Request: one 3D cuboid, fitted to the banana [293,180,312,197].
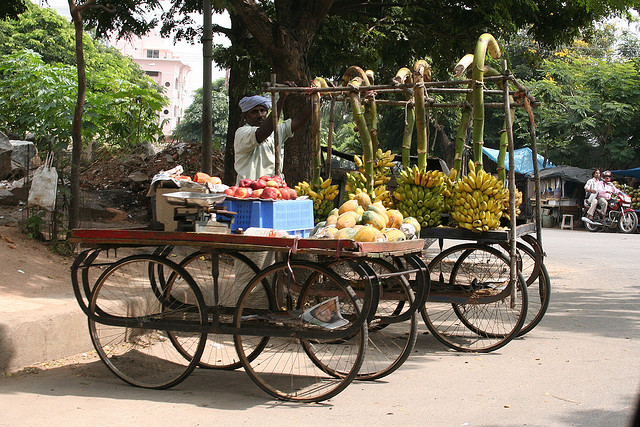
[{"bbox_3d":[-0.247,-0.359,8.383,0.066,0.180,0.179,37,28,5],"label":"banana"}]

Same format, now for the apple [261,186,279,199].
[{"bbox_3d":[-0.587,-0.243,7.213,0.283,0.139,0.127,-12,18,-44],"label":"apple"}]

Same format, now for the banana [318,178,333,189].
[{"bbox_3d":[0.086,-0.447,8.424,0.249,0.065,0.082,-40,-3,-35],"label":"banana"}]

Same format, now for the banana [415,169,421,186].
[{"bbox_3d":[1.304,-0.481,8.071,0.049,0.186,0.060,0,6,-3],"label":"banana"}]

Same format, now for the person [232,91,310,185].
[{"bbox_3d":[-0.786,-1.116,8.802,0.950,1.284,1.204,-2,13,-10],"label":"person"}]

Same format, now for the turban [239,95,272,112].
[{"bbox_3d":[-0.960,-1.618,8.897,0.440,0.237,0.241,-2,13,-11],"label":"turban"}]

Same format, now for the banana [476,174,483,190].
[{"bbox_3d":[2.069,-0.410,7.824,0.052,0.188,0.063,4,5,10],"label":"banana"}]
